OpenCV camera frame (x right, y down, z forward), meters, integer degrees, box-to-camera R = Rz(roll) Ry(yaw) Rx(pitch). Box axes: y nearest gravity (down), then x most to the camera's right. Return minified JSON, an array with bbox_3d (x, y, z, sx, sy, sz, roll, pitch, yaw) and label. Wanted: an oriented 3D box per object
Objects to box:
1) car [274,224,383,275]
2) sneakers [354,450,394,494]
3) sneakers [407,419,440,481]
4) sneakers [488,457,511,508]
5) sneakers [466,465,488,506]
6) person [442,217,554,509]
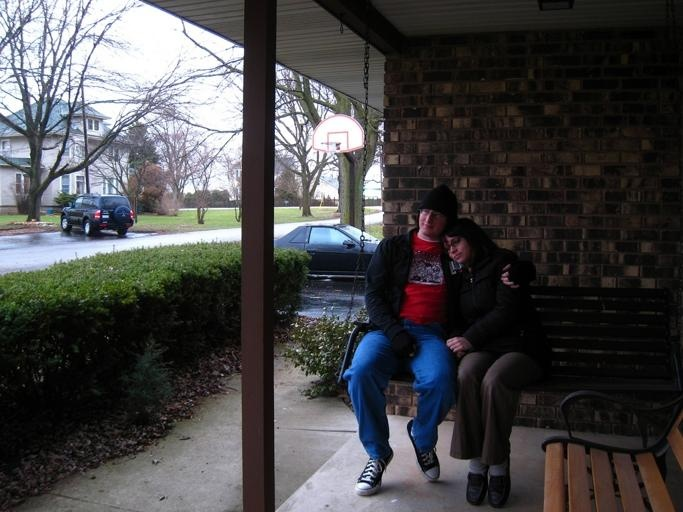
[{"bbox_3d":[-0.270,-0.164,12.862,2.025,0.687,1.296,-2,5,3],"label":"car"},{"bbox_3d":[0.225,1.479,3.720,0.142,0.258,0.315,6,8,43],"label":"sneakers"},{"bbox_3d":[0.587,1.380,3.887,0.159,0.483,0.190,-14,-13,-6],"label":"sneakers"},{"bbox_3d":[1.052,1.484,3.537,0.154,0.296,0.149,1,6,5],"label":"sneakers"},{"bbox_3d":[0.900,1.521,3.560,0.137,0.219,0.143,2,6,14],"label":"sneakers"},{"bbox_3d":[1.060,0.532,3.687,0.730,1.543,0.728,2,6,11],"label":"person"}]
